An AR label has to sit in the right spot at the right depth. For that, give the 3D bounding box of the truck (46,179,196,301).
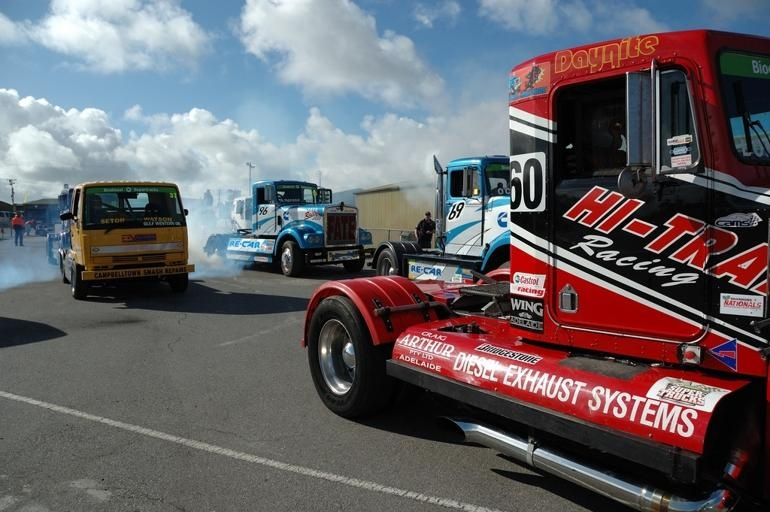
[{"bbox_3d":[-7.306,-0.494,14.272,3.364,3.034,6.161,0,-1,-36],"label":"truck"}]

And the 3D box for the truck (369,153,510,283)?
[{"bbox_3d":[1.028,-0.697,12.043,1.543,2.349,4.028,-1,-1,-32],"label":"truck"}]

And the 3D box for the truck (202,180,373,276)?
[{"bbox_3d":[-3.710,-1.119,19.244,2.555,2.846,6.690,-1,0,-39],"label":"truck"}]

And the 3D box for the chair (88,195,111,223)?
[{"bbox_3d":[-6.347,-1.039,11.588,0.446,0.850,0.431,3,-18,-39],"label":"chair"}]
